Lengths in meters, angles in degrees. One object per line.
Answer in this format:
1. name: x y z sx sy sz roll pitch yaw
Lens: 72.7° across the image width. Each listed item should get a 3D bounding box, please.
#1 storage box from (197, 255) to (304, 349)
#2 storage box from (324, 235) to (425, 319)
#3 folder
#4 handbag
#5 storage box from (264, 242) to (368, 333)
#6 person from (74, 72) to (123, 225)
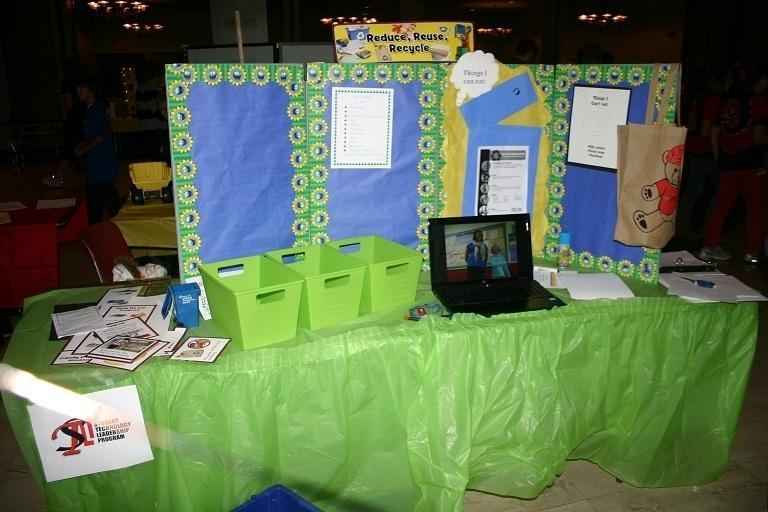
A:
1. storage box: -0.641 0.166 2.481 0.376 0.296 0.502 -13 28 -31
2. storage box: -0.066 0.038 2.746 0.373 0.289 0.480 -12 26 -30
3. folder: 1.689 0.122 2.744 0.403 0.066 0.379 3 24 13
4. handbag: 1.399 -0.467 2.663 0.368 0.961 0.248 -7 20 -18
5. storage box: -0.352 0.118 2.629 0.360 0.293 0.499 -12 28 -31
6. person: -2.697 -0.975 4.885 0.330 1.299 0.589 -11 21 -26
